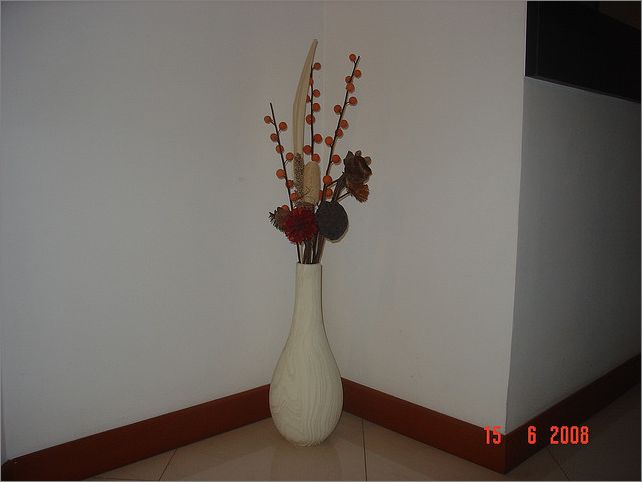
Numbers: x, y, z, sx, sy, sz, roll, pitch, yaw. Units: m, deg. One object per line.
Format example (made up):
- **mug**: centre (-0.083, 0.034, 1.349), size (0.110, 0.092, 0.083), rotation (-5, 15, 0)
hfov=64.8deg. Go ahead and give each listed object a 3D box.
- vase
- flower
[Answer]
- **vase**: centre (-0.065, 0.441, 1.949), size (0.230, 0.695, 0.239), rotation (-9, 14, -40)
- **flower**: centre (-0.012, -0.366, 2.062), size (0.442, 0.935, 0.520), rotation (1, 11, 5)
